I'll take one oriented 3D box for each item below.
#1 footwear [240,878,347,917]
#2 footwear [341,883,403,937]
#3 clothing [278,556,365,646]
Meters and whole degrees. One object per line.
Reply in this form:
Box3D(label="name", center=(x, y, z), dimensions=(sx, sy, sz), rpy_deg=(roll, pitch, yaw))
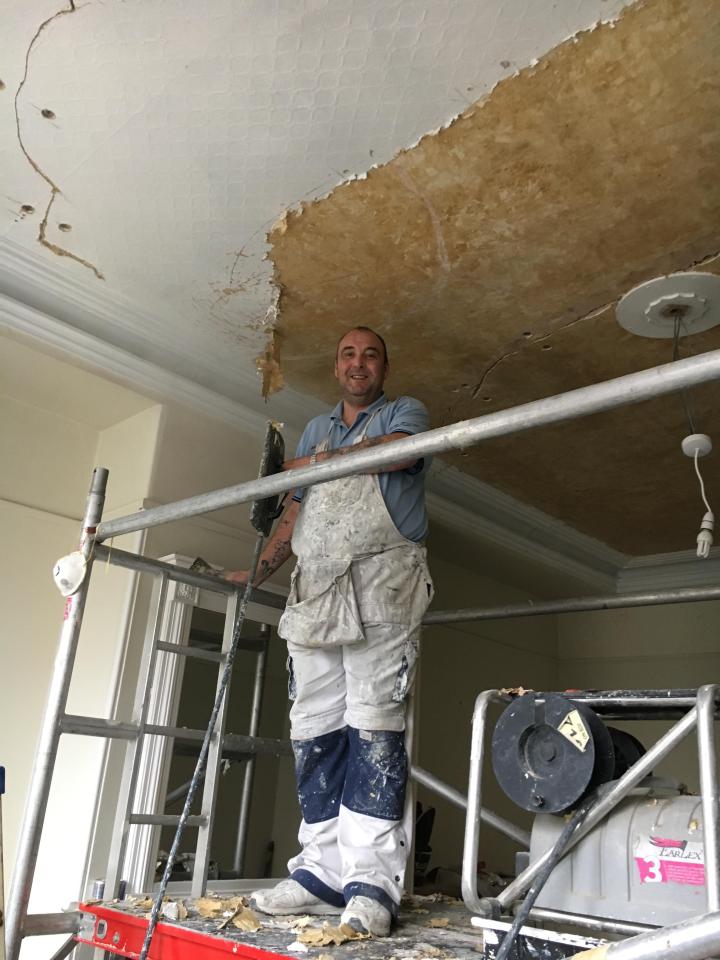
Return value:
Box3D(label="footwear", center=(-0.153, 0.949, 1.890), dimensions=(0.218, 0.086, 0.073), rpy_deg=(15, -35, -2))
Box3D(label="footwear", center=(0.025, 0.888, 1.709), dimensions=(0.061, 0.059, 0.158), rpy_deg=(-16, -34, 20))
Box3D(label="clothing", center=(-0.097, 0.317, 2.103), dimensions=(0.263, 0.214, 0.082), rpy_deg=(-13, -28, 36))
